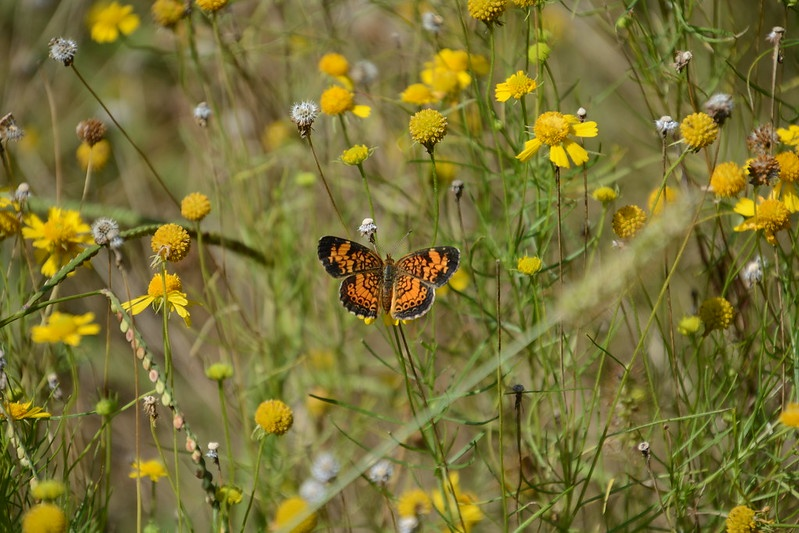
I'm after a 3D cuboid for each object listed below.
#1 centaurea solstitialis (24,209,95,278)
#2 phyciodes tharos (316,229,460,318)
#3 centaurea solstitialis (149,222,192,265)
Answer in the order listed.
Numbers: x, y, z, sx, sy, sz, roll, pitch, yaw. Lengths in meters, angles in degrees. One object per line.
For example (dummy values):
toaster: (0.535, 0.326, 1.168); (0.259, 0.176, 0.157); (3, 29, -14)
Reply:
centaurea solstitialis: (-1.276, -0.096, 3.325); (0.133, 0.271, 0.378); (3, 0, -26)
phyciodes tharos: (-0.046, 0.051, 3.344); (0.537, 0.259, 0.286); (3, 47, 6)
centaurea solstitialis: (-0.812, -0.091, 3.160); (0.107, 0.159, 0.143); (3, 42, -2)
